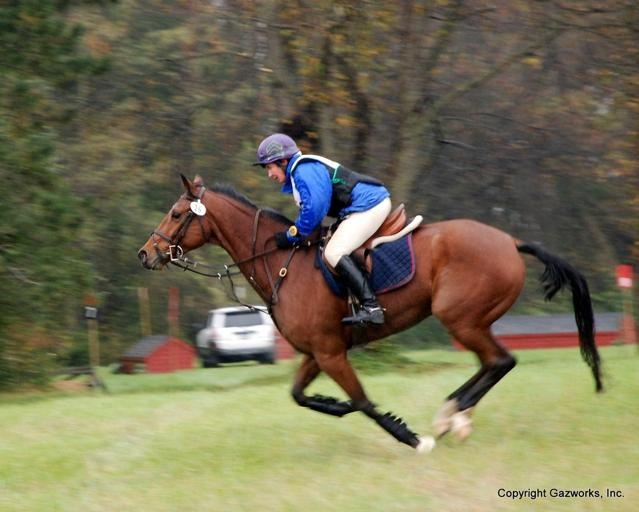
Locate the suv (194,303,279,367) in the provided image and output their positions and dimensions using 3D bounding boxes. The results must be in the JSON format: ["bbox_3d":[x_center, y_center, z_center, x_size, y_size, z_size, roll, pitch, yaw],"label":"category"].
[{"bbox_3d":[-1.516,1.403,15.381,1.309,0.713,1.790,0,0,-14],"label":"suv"}]

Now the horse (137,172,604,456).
[{"bbox_3d":[0.816,0.601,9.298,6.352,2.601,1.388,2,-5,26],"label":"horse"}]

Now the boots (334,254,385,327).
[{"bbox_3d":[0.388,0.343,8.767,0.450,0.705,0.261,-3,13,13],"label":"boots"}]

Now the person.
[{"bbox_3d":[0.083,-0.288,8.879,1.227,1.949,0.679,-4,13,12],"label":"person"}]

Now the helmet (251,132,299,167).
[{"bbox_3d":[-0.485,-1.118,9.082,0.526,0.209,0.313,-10,4,-17],"label":"helmet"}]
